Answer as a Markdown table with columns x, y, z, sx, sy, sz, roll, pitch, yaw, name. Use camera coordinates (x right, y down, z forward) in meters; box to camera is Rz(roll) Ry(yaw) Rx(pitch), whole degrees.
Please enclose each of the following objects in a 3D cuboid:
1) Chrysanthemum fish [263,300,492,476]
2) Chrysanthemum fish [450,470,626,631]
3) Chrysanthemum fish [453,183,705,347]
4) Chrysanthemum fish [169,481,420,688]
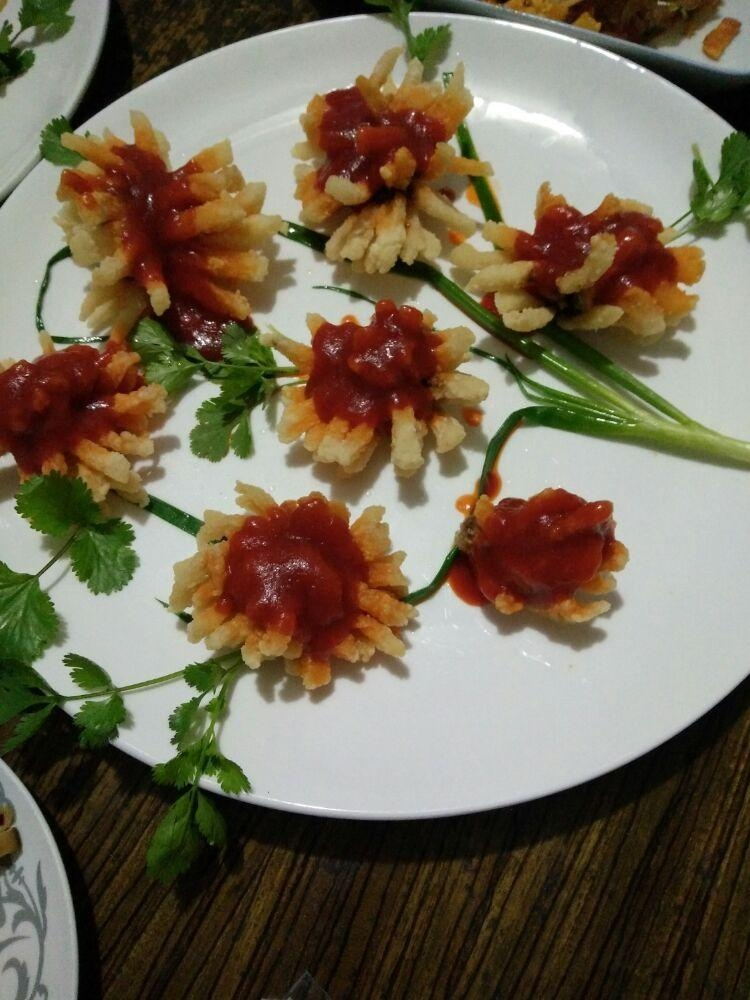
| x | y | z | sx | sy | sz | roll | pitch | yaw | name |
| --- | --- | --- | --- | --- | --- | --- | --- | --- | --- |
| 0.011 | -0.202 | 1.702 | 0.379 | 0.131 | 0.325 | -4 | 81 | -1 | Chrysanthemum fish |
| 0.270 | 0.089 | 1.640 | 0.291 | 0.211 | 0.213 | 17 | 52 | 20 | Chrysanthemum fish |
| 0.391 | -0.409 | 1.786 | 0.434 | 0.166 | 0.386 | 23 | 17 | -25 | Chrysanthemum fish |
| -0.135 | 0.146 | 1.630 | 0.397 | 0.221 | 0.298 | 2 | 48 | 7 | Chrysanthemum fish |
